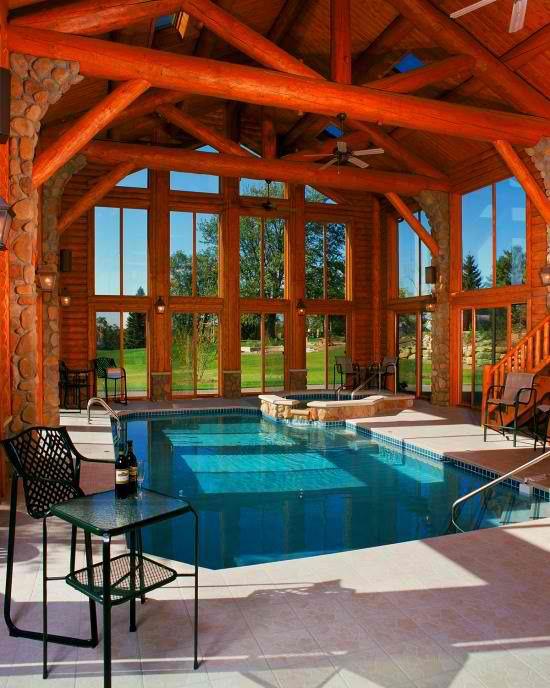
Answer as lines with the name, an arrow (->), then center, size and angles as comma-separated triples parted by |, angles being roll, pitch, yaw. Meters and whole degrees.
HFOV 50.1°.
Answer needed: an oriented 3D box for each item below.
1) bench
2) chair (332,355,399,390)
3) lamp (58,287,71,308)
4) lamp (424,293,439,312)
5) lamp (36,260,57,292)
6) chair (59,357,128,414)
bench -> 1.070, 1.256, 12.093 | 2.763, 0.463, 3.223 | 3, -2, -45
chair -> 2.274, 0.790, 15.012 | 1.277, 1.418, 0.947 | 3, -4, -7
lamp -> -4.408, -1.008, 12.316 | 0.215, 0.424, 0.819 | 2, -2, -20
lamp -> 3.354, -0.912, 12.669 | 0.233, 0.402, 0.423 | 1, -2, 4
lamp -> -3.191, -0.931, 8.198 | 0.249, 0.438, 0.680 | 2, -2, -24
chair -> -3.956, 0.889, 12.588 | 1.243, 0.741, 0.445 | 1, -2, -43
